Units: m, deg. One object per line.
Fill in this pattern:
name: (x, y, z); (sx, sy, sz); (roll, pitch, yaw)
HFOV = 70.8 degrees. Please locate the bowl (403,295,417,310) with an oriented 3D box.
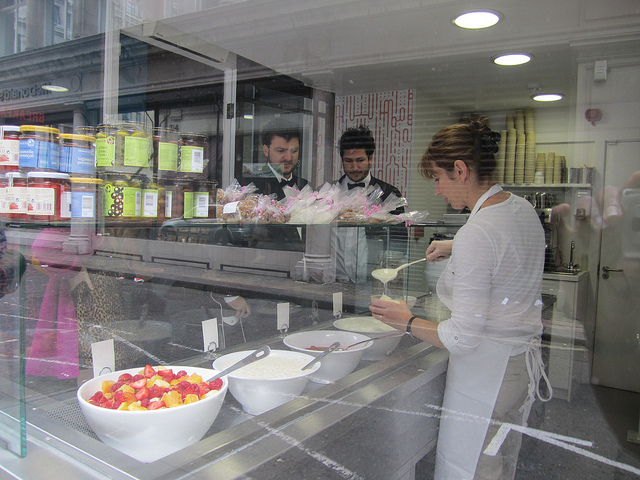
bowl: (0.243, 0.164, 1.207); (0.028, 0.023, 0.029); (5, -7, 1)

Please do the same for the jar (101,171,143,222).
jar: (-0.567, -0.121, 1.259); (0.127, 0.140, 0.127); (2, 1, 0)

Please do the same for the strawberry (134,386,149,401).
strawberry: (-0.362, 0.311, 0.915); (0.016, 0.012, 0.021); (-17, 13, 15)

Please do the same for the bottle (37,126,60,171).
bottle: (-0.702, -0.238, 1.171); (0.028, 0.111, 0.072); (3, 6, 17)

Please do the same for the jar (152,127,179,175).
jar: (-0.453, -0.247, 1.282); (0.082, 0.134, 0.084); (4, 9, -1)

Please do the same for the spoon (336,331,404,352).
spoon: (0.128, 0.256, 1.132); (0.137, 0.015, 0.019); (-13, 0, -14)

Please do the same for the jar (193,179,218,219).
jar: (-0.332, -0.122, 1.327); (0.040, 0.114, 0.111); (3, 6, 14)

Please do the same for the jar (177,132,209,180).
jar: (-0.355, -0.238, 1.263); (0.084, 0.128, 0.048); (0, 6, -18)

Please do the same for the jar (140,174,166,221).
jar: (-0.464, -0.120, 1.255); (0.026, 0.128, 0.068); (6, 7, 40)

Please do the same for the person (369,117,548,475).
person: (0.306, 0.166, 1.019); (0.145, 0.849, 0.391); (-1, 6, -28)

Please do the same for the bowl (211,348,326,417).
bowl: (-0.122, 0.322, 1.024); (0.242, 0.096, 0.243); (1, 1, 0)

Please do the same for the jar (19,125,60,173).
jar: (-0.735, -0.237, 1.194); (0.102, 0.110, 0.103); (3, 5, 0)

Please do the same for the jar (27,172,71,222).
jar: (-0.704, -0.113, 1.181); (0.115, 0.123, 0.116); (2, 1, 0)

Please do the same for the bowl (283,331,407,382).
bowl: (0.021, 0.273, 1.120); (0.190, 0.068, 0.136); (2, -4, -10)

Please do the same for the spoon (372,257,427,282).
spoon: (0.209, 0.079, 1.201); (0.026, 0.046, 0.168); (19, -26, -40)

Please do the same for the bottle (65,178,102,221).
bottle: (-0.623, -0.106, 1.187); (0.097, 0.100, 0.096); (1, -3, -37)

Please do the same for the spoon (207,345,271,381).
spoon: (-0.197, 0.290, 1.038); (0.024, 0.028, 0.198); (32, 28, 31)

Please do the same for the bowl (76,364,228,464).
bowl: (-0.334, 0.347, 0.943); (0.265, 0.111, 0.214); (4, 6, 24)

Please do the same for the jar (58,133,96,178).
jar: (-0.652, -0.220, 1.243); (0.111, 0.119, 0.108); (3, 1, 0)

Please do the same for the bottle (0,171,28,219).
bottle: (-0.768, -0.114, 1.133); (0.114, 0.114, 0.047); (4, 6, 20)

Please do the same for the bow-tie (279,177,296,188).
bow-tie: (-0.099, -0.182, 1.406); (0.062, 0.030, 0.006); (6, 7, 38)
